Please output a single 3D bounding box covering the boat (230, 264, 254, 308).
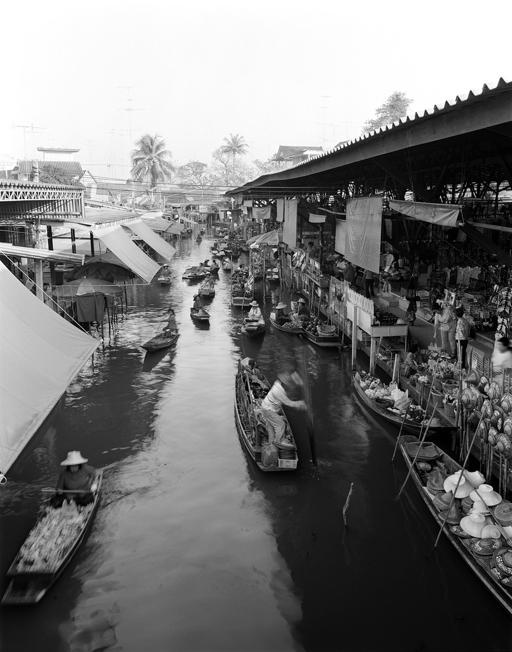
[{"bbox_3d":[-0.962,-2.649,34.907,0.866,1.230,5.416,2,25,-5],"label":"boat"}]

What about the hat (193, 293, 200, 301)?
[{"bbox_3d":[-3.779,-1.847,31.369,0.440,0.555,1.276,11,-3,-8],"label":"hat"}]

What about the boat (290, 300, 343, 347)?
[{"bbox_3d":[2.900,0.068,25.044,0.923,1.083,5.038,-1,22,-4],"label":"boat"}]

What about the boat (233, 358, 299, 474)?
[{"bbox_3d":[0.135,2.524,14.153,0.746,1.461,4.687,0,25,-5],"label":"boat"}]

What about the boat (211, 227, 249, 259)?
[{"bbox_3d":[-3.162,-10.224,61.251,2.901,2.538,11.167,-2,23,-4],"label":"boat"}]

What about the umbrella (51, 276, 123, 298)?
[{"bbox_3d":[-7.477,-1.654,22.093,2.761,0.910,1.705,0,11,-3],"label":"umbrella"}]
